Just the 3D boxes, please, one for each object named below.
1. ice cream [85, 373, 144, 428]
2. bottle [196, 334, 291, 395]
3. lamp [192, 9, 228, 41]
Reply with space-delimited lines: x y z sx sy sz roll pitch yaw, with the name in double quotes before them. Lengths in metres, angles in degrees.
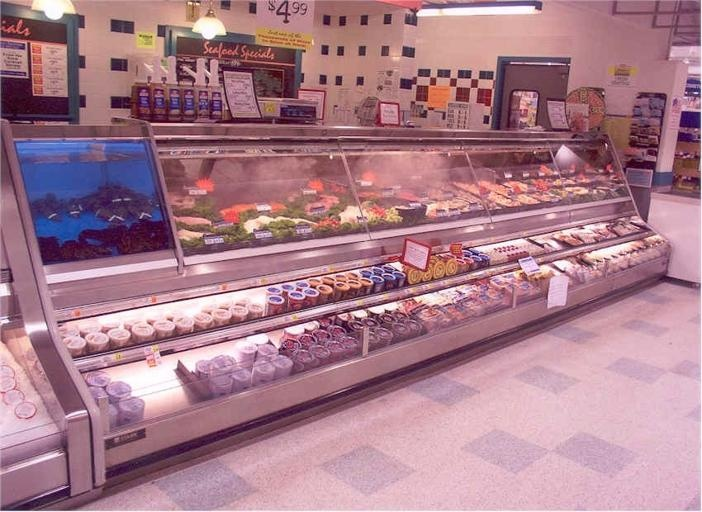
"ice cream" -1.286 0.735 2.535 0.315 0.097 0.231 36 25 34
"bottle" -0.657 0.681 2.927 0.348 0.102 0.349 0 22 0
"lamp" -1.783 -2.887 5.871 0.303 0.324 0.416 0 19 18
